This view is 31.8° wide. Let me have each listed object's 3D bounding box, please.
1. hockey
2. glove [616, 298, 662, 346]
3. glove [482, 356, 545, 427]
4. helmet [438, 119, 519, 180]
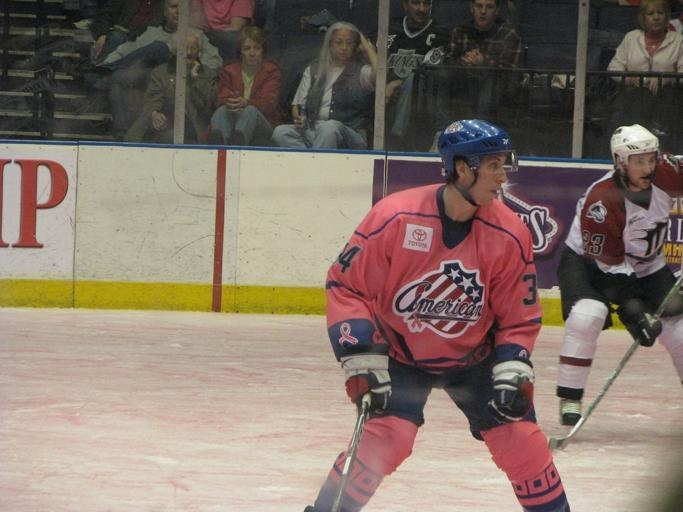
[{"bbox_3d":[1.839,0.740,8.042,0.164,1.316,0.152,38,-11,15],"label":"hockey"},{"bbox_3d":[1.945,0.427,7.832,0.240,0.313,0.131,-31,-14,-51],"label":"glove"},{"bbox_3d":[0.892,0.725,6.324,0.264,0.269,0.329,4,0,-11],"label":"glove"},{"bbox_3d":[0.741,-0.569,6.566,0.416,0.311,0.317,5,12,37],"label":"helmet"}]
